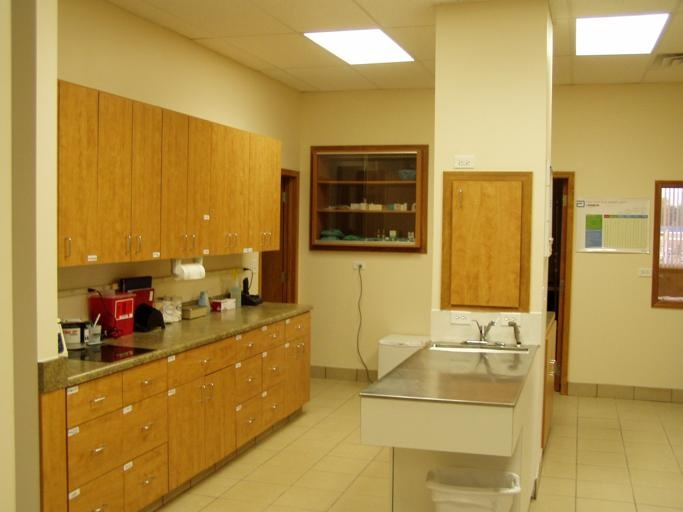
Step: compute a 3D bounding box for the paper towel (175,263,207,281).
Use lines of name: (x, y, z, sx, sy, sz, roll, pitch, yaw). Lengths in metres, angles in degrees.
paper towel: (-1.237, 0.114, 4.479, 0.132, 0.121, 0.191, 28, 17, 32)

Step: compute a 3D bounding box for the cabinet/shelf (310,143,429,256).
cabinet/shelf: (0.319, -0.629, 6.273, 1.214, 1.227, 0.396, 1, 3, 9)

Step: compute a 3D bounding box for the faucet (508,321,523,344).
faucet: (1.226, 0.553, 3.851, 0.083, 0.163, 0.141, 2, 5, 13)

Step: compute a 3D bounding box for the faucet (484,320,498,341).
faucet: (1.065, 0.539, 3.905, 0.071, 0.150, 0.102, 3, 5, 23)

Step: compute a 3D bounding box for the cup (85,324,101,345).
cup: (-1.622, 0.522, 3.610, 0.108, 0.129, 0.113, 1, 1, 0)

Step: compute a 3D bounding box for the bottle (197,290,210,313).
bottle: (-1.195, 0.413, 4.813, 0.087, 0.156, 0.244, -1, 6, -18)
